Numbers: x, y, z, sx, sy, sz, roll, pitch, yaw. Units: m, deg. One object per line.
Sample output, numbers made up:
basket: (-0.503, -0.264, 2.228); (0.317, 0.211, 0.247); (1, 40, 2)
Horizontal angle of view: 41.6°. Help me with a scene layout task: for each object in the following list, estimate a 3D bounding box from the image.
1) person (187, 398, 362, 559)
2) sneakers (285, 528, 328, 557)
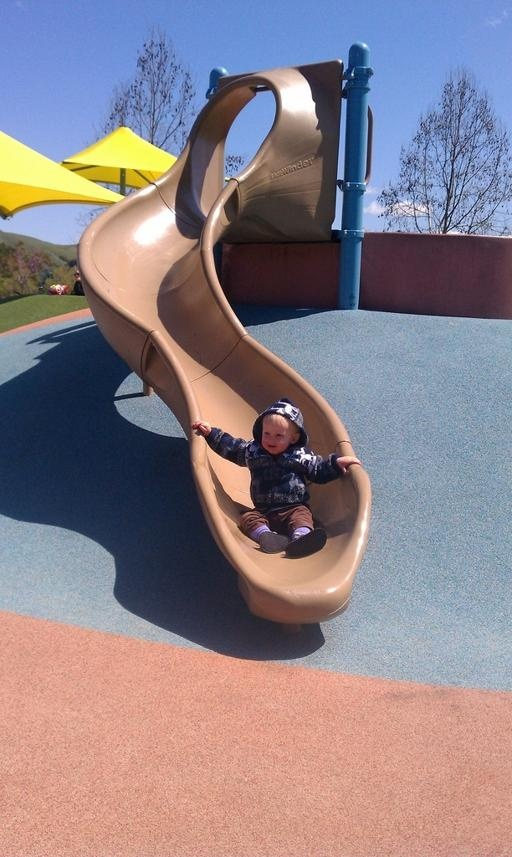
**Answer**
person: (0.149, 0.226, 3.606); (0.581, 0.674, 0.921); (-6, 13, -37)
sneakers: (0.248, 0.556, 3.241); (0.214, 0.103, 0.154); (-22, -3, 14)
